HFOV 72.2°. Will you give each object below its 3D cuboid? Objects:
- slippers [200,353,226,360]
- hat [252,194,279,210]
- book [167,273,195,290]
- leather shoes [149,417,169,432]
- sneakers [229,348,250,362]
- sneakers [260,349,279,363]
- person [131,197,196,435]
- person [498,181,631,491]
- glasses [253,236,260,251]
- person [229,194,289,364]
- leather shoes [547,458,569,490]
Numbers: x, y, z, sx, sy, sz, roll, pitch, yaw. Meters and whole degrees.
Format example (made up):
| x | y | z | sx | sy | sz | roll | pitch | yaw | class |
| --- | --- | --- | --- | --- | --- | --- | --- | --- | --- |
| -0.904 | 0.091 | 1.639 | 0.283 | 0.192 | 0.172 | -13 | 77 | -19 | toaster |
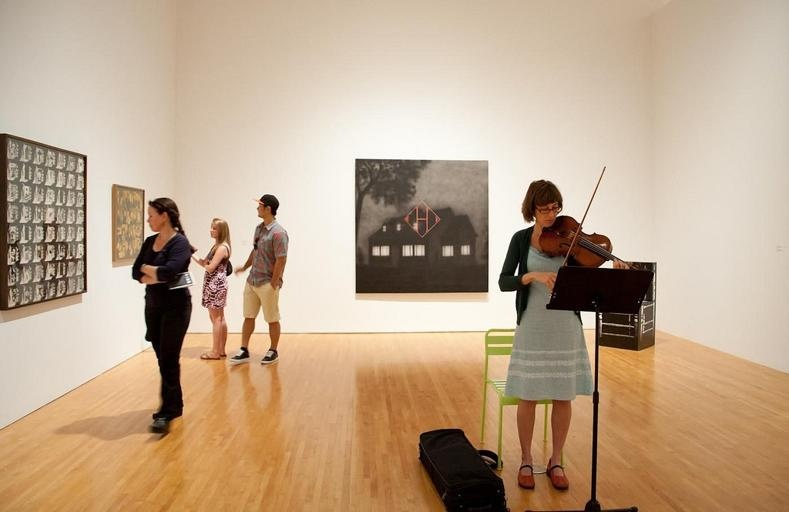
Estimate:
| x | y | z | sx | sy | sz | roll | pitch | yaw | class |
| --- | --- | --- | --- | --- | --- | --- | --- | --- | --- |
| -2.642 | 1.481 | 7.871 | 0.318 | 0.086 | 0.142 | 5 | -7 | -15 | slippers |
| -1.921 | -0.805 | 8.036 | 0.341 | 0.189 | 0.257 | 29 | 15 | 7 | hat |
| -2.263 | 0.265 | 5.732 | 0.174 | 0.054 | 0.200 | -19 | 40 | -15 | book |
| -2.529 | 1.823 | 5.818 | 0.127 | 0.142 | 0.160 | -6 | -22 | 30 | leather shoes |
| -2.190 | 1.418 | 7.655 | 0.123 | 0.173 | 0.354 | -1 | -10 | 13 | sneakers |
| -1.775 | 1.446 | 7.675 | 0.104 | 0.132 | 0.314 | -1 | -12 | 6 | sneakers |
| -2.485 | 0.632 | 5.832 | 0.590 | 2.485 | 0.468 | 0 | 7 | -5 | person |
| 1.382 | 0.741 | 5.007 | 0.833 | 2.851 | 0.512 | 3 | 7 | 20 | person |
| -1.943 | -0.176 | 7.553 | 0.038 | 0.163 | 0.109 | 6 | 4 | -18 | glasses |
| -1.839 | 0.350 | 7.549 | 0.725 | 2.380 | 0.345 | 2 | 7 | 9 | person |
| 1.542 | 2.089 | 5.091 | 0.116 | 0.119 | 0.290 | -3 | -7 | 0 | leather shoes |
